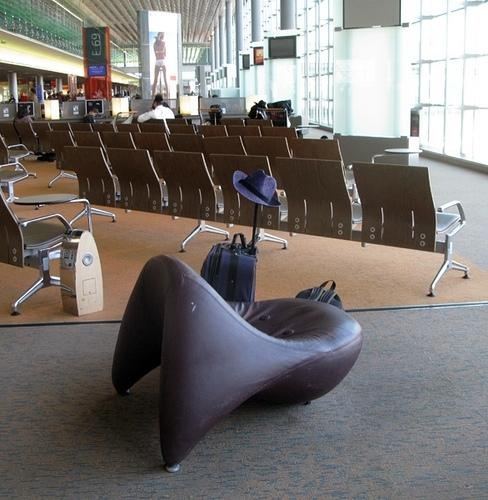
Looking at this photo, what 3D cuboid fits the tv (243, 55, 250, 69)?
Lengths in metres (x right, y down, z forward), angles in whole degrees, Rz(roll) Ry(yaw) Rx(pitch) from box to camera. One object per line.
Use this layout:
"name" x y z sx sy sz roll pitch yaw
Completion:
"tv" 0.104 -9.598 24.028 0.320 0.654 0.876 -2 12 -4

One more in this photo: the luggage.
"luggage" -0.060 0.082 2.906 0.288 0.472 0.349 -2 50 -7

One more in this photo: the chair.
"chair" -0.007 0.360 1.918 0.887 0.635 0.687 -6 13 -29

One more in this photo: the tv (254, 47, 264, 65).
"tv" 0.600 -8.402 20.463 0.409 0.640 1.032 -2 12 -1

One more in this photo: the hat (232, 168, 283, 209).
"hat" 0.075 -0.390 2.982 0.270 0.225 0.395 -2 12 -1
